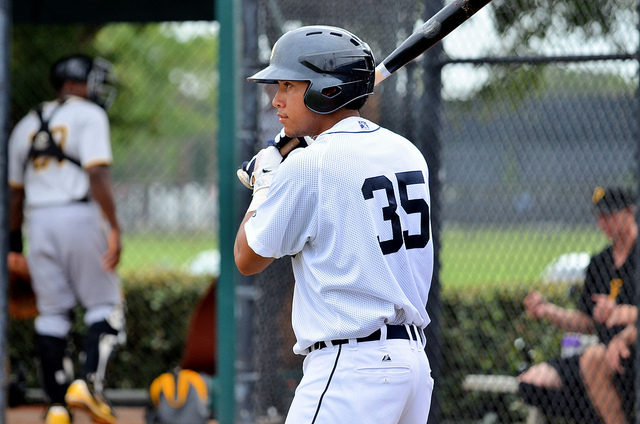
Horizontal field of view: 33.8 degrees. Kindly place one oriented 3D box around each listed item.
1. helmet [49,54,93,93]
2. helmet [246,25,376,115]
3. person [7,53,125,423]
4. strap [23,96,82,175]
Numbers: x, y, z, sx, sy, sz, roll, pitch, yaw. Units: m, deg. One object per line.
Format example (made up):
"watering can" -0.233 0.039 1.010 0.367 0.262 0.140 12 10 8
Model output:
"helmet" -1.681 -1.010 7.270 0.324 0.297 0.263 -5 34 -27
"helmet" -0.040 -0.735 5.410 0.646 0.459 0.441 -1 6 -5
"person" -1.709 0.172 7.120 0.859 2.191 0.652 0 0 42
"strap" -1.818 -0.538 7.053 0.357 0.536 0.304 25 38 18
